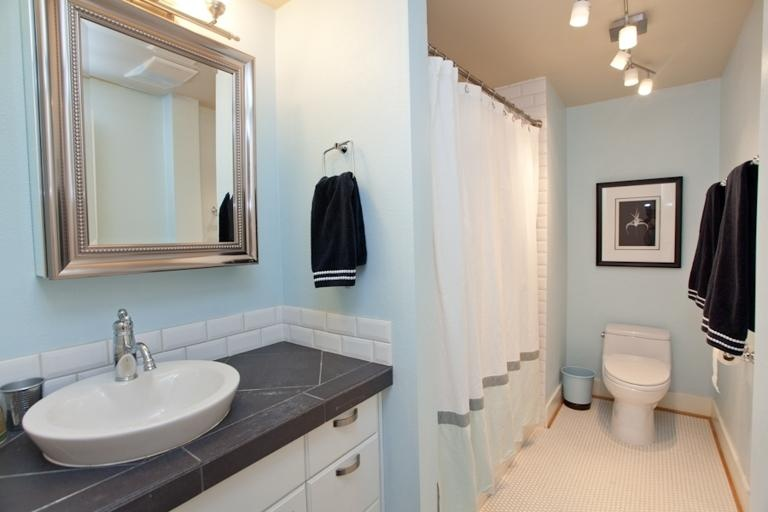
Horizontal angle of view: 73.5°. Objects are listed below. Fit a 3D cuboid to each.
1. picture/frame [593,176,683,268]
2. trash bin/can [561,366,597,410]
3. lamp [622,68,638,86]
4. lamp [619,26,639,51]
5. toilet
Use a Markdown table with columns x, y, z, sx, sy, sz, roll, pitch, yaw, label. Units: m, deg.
| x | y | z | sx | sy | sz | roll | pitch | yaw | label |
| --- | --- | --- | --- | --- | --- | --- | --- | --- | --- |
| 2.090 | -0.286 | 4.191 | 0.716 | 0.917 | 0.065 | 1 | 1 | 36 | picture/frame |
| 1.578 | 1.087 | 4.346 | 0.285 | 0.325 | 0.302 | -3 | 2 | -14 | trash bin/can |
| 1.667 | -1.218 | 3.481 | 0.079 | 0.108 | 0.171 | 2 | 7 | 22 | lamp |
| 1.421 | -1.281 | 3.008 | 0.084 | 0.127 | 0.198 | 3 | 8 | 31 | lamp |
| 1.908 | 0.968 | 3.961 | 0.506 | 0.736 | 0.703 | 3 | 8 | 29 | toilet |
